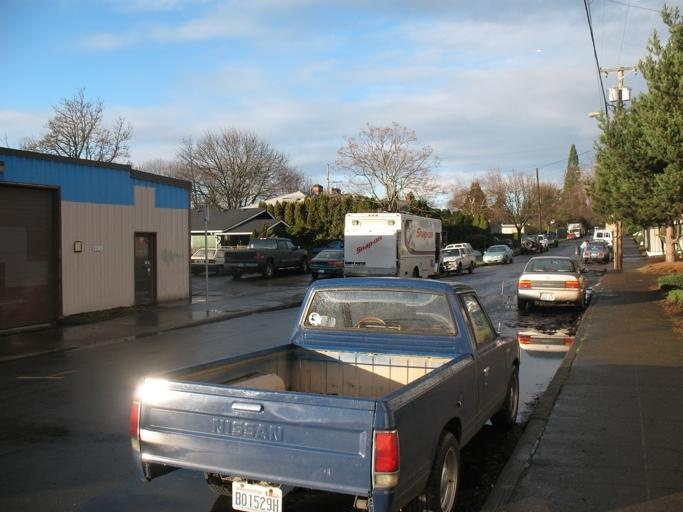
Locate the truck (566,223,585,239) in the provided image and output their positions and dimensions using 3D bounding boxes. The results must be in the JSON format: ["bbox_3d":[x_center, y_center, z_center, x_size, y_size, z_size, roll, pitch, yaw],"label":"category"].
[{"bbox_3d":[43.210,-4.534,104.229,2.582,3.121,7.539,-3,4,23],"label":"truck"}]

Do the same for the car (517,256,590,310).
[{"bbox_3d":[6.328,0.881,17.101,1.860,1.712,1.463,4,5,19],"label":"car"}]
